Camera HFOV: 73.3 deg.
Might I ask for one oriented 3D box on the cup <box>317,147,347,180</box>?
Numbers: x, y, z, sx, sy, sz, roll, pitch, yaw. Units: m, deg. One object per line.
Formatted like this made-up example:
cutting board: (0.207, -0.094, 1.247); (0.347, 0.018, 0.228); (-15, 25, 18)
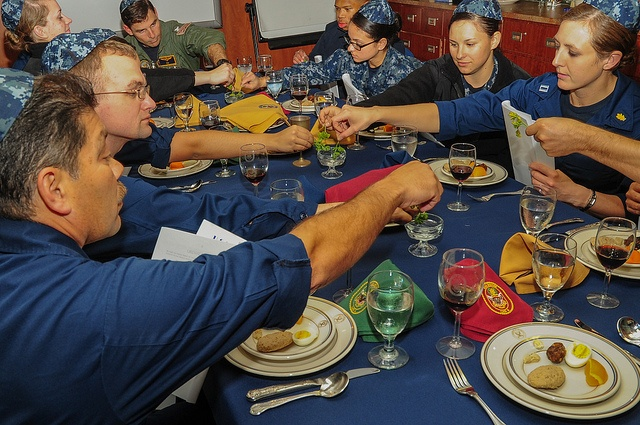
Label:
cup: (0.074, -0.249, 2.125); (0.143, 0.147, 0.147); (-3, 17, 1)

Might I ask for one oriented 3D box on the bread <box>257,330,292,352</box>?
bread: (-0.112, 0.365, 1.217); (0.073, 0.022, 0.048); (-11, 28, -22)

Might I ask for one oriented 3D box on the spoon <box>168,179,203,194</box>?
spoon: (-0.589, -0.111, 2.016); (0.171, 0.027, 0.054); (-6, 28, 24)

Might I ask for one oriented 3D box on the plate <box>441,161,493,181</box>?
plate: (0.679, -0.176, 1.954); (0.122, 0.031, 0.130); (-1, 36, -1)

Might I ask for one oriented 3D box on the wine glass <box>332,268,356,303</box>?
wine glass: (0.078, 0.248, 1.417); (0.076, 0.138, 0.089); (-1, 34, -5)

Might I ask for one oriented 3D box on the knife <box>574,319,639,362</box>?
knife: (0.759, 0.354, 1.177); (0.016, 0.017, 0.151); (-25, 41, -30)

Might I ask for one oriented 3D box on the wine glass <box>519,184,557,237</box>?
wine glass: (0.758, 0.018, 1.570); (0.139, 0.221, 0.133); (4, 12, 23)

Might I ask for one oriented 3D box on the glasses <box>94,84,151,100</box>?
glasses: (-0.782, -0.509, 1.853); (0.126, 0.039, 0.125); (-7, 25, -15)

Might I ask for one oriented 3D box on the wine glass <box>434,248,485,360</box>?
wine glass: (0.392, 0.271, 1.227); (0.120, 0.309, 0.134); (8, 33, 22)

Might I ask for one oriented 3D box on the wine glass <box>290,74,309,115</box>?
wine glass: (-0.129, -0.759, 2.911); (0.128, 0.344, 0.127); (-4, 22, -20)

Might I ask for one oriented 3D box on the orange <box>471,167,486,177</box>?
orange: (0.698, -0.178, 1.939); (0.043, 0.035, 0.059); (-11, 32, 15)

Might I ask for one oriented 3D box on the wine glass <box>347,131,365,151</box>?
wine glass: (0.208, -0.380, 2.359); (0.091, 0.092, 0.097); (7, 22, 21)

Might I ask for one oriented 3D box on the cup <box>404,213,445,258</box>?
cup: (0.370, 0.081, 1.557); (0.136, 0.132, 0.144); (-1, 21, 0)

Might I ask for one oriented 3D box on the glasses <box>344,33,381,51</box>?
glasses: (0.300, -1.266, 3.292); (0.203, 0.064, 0.204); (-14, 36, -17)

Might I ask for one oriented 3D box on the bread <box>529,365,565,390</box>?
bread: (0.553, 0.415, 1.084); (0.069, 0.017, 0.055); (-9, 39, -11)

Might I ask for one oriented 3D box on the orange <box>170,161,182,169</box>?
orange: (-0.680, -0.233, 2.184); (0.035, 0.028, 0.037); (9, 21, 23)

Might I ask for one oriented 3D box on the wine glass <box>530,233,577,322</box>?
wine glass: (0.681, 0.211, 1.303); (0.117, 0.241, 0.119); (16, 36, 36)
